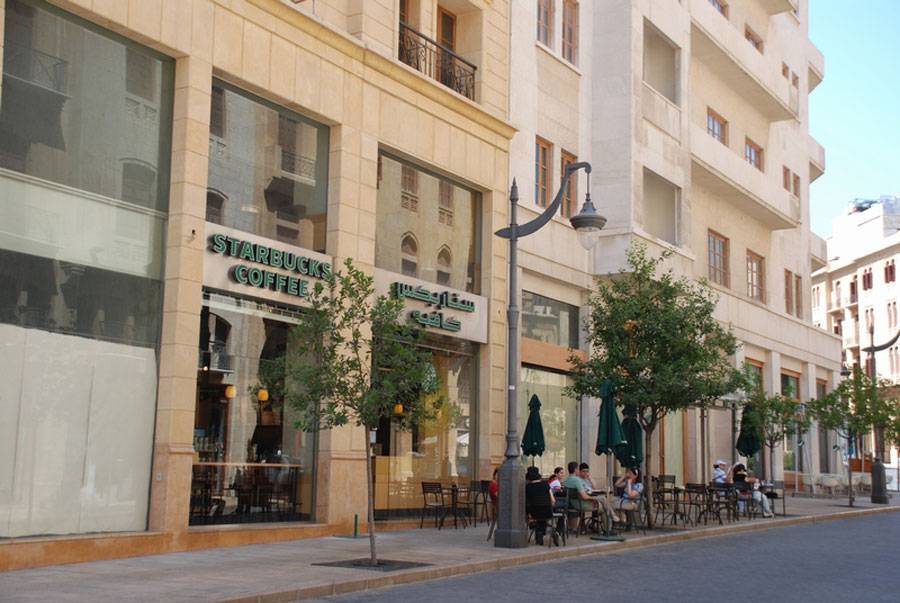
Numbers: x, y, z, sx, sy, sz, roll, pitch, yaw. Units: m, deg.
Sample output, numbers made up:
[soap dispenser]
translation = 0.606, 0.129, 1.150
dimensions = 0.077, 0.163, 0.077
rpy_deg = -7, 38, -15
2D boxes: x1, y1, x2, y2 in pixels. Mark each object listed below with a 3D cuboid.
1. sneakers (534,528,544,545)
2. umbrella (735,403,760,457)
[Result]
[sneakers]
translation = 2.161, 5.695, 24.305
dimensions = 0.247, 0.419, 0.286
rpy_deg = -5, -7, 29
[umbrella]
translation = 10.799, 4.611, 36.549
dimensions = 0.857, 1.885, 1.661
rpy_deg = -6, -19, 15
